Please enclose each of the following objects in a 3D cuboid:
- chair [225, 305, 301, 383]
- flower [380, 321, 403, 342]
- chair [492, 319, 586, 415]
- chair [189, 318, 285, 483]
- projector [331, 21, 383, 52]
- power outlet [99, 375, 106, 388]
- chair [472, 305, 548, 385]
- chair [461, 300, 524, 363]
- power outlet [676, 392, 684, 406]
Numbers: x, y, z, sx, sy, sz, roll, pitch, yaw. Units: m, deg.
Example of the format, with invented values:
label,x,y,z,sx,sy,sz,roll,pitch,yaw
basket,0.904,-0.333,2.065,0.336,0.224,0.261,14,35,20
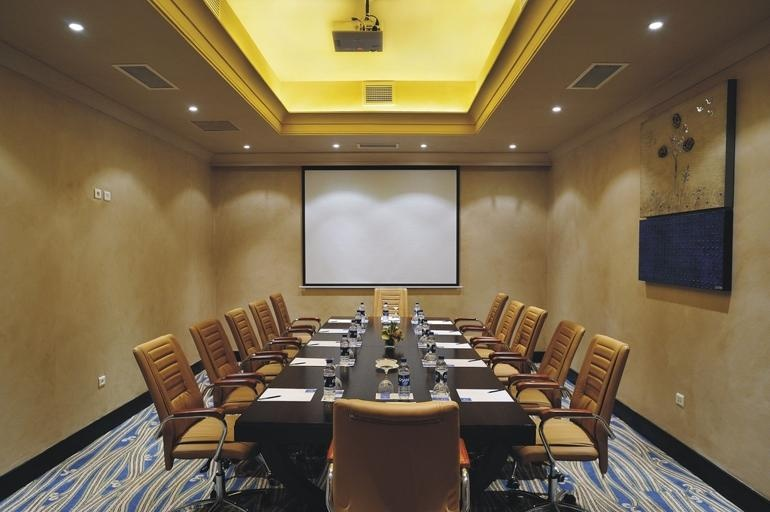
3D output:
label,x,y,z,sx,sy,sz,roll,pitch,yaw
chair,-1.410,1.225,5.900,0.781,1.167,0.729,-1,6,5
flower,0.078,0.828,5.431,0.237,0.252,0.243,-1,-2,39
chair,1.703,1.162,5.144,0.877,1.239,0.854,1,-6,-3
chair,-1.502,1.422,5.378,0.932,1.468,0.979,-4,6,-9
projector,-0.308,-2.526,5.539,0.523,0.382,0.512,3,1,-3
power outlet,-3.294,1.457,5.745,0.015,0.150,0.146,0,-3,18
chair,1.375,1.224,5.951,0.862,1.249,0.797,3,8,-2
chair,1.268,1.053,6.523,0.695,1.005,0.668,3,10,-19
power outlet,3.149,1.534,5.288,0.020,0.157,0.145,4,-8,-16
